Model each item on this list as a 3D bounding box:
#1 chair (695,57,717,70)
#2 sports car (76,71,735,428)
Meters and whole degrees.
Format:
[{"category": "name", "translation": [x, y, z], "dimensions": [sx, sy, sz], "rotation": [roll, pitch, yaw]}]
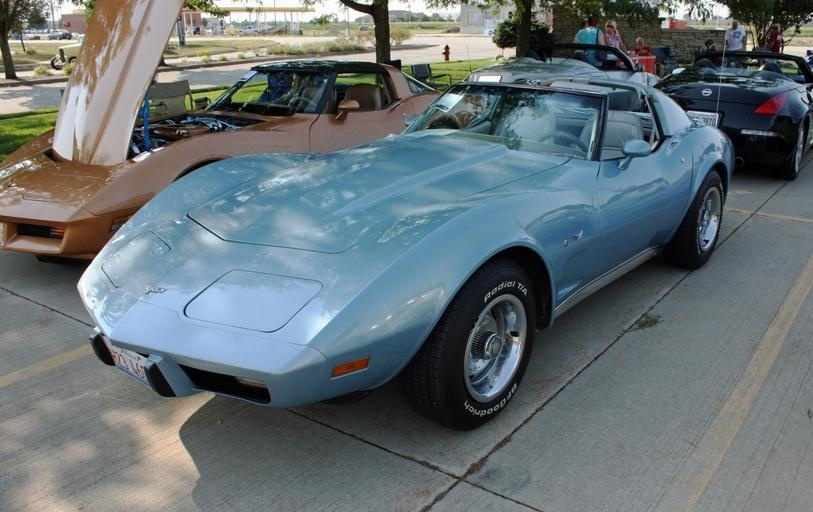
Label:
[{"category": "chair", "translation": [5.643, -3.604, 8.886], "dimensions": [0.503, 0.154, 0.346], "rotation": [-14, 27, -14]}, {"category": "sports car", "translation": [0.711, -0.400, 4.030], "dimensions": [2.734, 1.415, 5.365], "rotation": [18, 30, 40]}]
